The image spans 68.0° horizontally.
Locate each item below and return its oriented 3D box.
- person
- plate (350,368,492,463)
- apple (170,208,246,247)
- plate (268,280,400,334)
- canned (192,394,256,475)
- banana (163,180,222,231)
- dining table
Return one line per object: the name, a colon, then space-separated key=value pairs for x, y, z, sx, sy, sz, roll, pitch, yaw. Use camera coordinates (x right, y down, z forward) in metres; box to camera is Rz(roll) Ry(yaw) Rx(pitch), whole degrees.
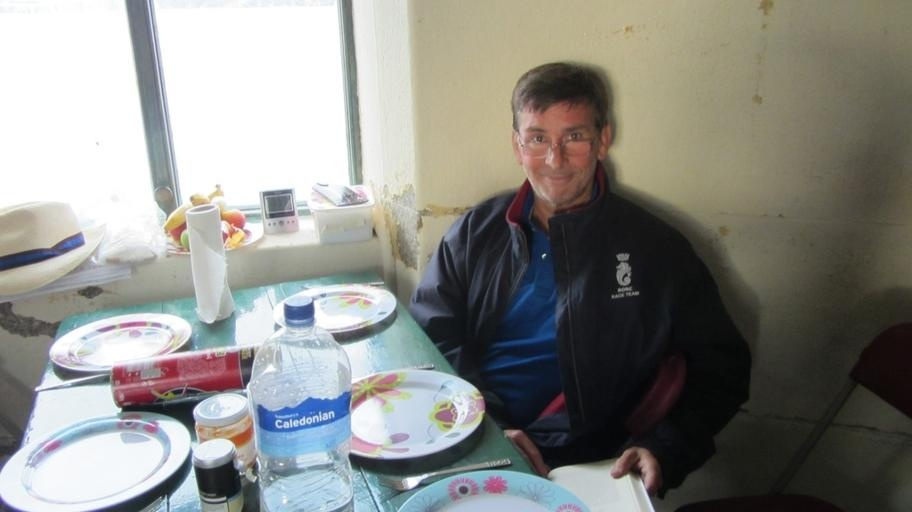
person: x=0.381 y=0.075 z=1.896 sx=0.997 sy=0.953 sz=0.616 roll=18 pitch=35 yaw=37
plate: x=-0.103 y=0.409 z=1.795 sx=0.350 sy=0.122 sz=0.259 roll=-5 pitch=19 yaw=-6
apple: x=-0.805 y=-0.099 z=2.263 sx=0.225 sy=0.075 sz=0.214 roll=-10 pitch=43 yaw=-37
plate: x=-0.350 y=0.159 z=2.190 sx=0.224 sy=0.023 sz=0.216 roll=10 pitch=27 yaw=19
canned: x=-0.567 y=0.433 z=1.655 sx=0.143 sy=0.145 sz=0.135 roll=-6 pitch=16 yaw=-16
banana: x=-0.932 y=-0.179 z=2.390 sx=0.267 sy=0.070 sz=0.097 roll=-38 pitch=20 yaw=-23
dining table: x=-0.634 y=0.282 z=1.922 sx=0.815 sy=0.199 sz=0.820 roll=-12 pitch=33 yaw=-17
